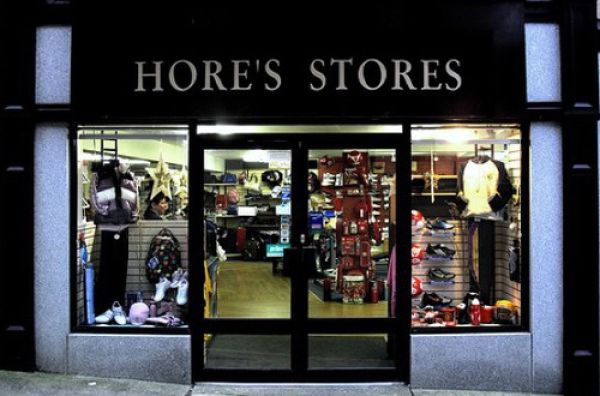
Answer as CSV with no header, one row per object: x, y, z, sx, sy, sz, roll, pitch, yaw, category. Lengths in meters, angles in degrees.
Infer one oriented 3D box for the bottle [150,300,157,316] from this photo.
-1.862,1.403,7.406,0.101,0.157,0.108,3,-1,0,bottle

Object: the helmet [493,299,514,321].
2.557,1.426,7.347,0.222,0.247,0.273,-3,-25,26,helmet

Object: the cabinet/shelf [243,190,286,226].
-0.476,0.178,7.962,0.702,0.416,0.380,1,-9,26,cabinet/shelf

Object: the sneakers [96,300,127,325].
-2.381,1.450,7.390,0.406,0.240,0.169,3,-1,-7,sneakers

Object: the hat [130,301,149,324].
-2.024,1.450,7.360,0.292,0.254,0.211,-4,-8,1,hat

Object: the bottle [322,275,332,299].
0.360,1.200,7.759,0.124,0.281,0.347,3,-1,10,bottle
